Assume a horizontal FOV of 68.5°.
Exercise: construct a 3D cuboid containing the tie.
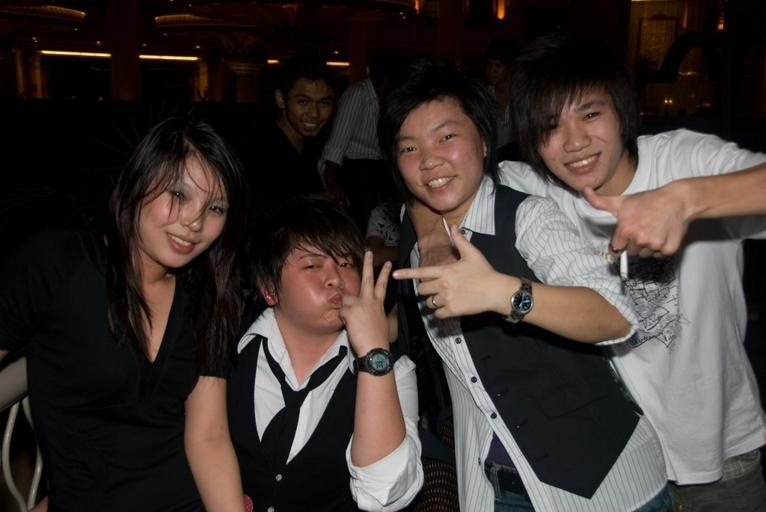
[{"bbox_3d":[-0.355,0.645,2.443,0.257,0.445,0.106,5,-24,21],"label":"tie"}]
